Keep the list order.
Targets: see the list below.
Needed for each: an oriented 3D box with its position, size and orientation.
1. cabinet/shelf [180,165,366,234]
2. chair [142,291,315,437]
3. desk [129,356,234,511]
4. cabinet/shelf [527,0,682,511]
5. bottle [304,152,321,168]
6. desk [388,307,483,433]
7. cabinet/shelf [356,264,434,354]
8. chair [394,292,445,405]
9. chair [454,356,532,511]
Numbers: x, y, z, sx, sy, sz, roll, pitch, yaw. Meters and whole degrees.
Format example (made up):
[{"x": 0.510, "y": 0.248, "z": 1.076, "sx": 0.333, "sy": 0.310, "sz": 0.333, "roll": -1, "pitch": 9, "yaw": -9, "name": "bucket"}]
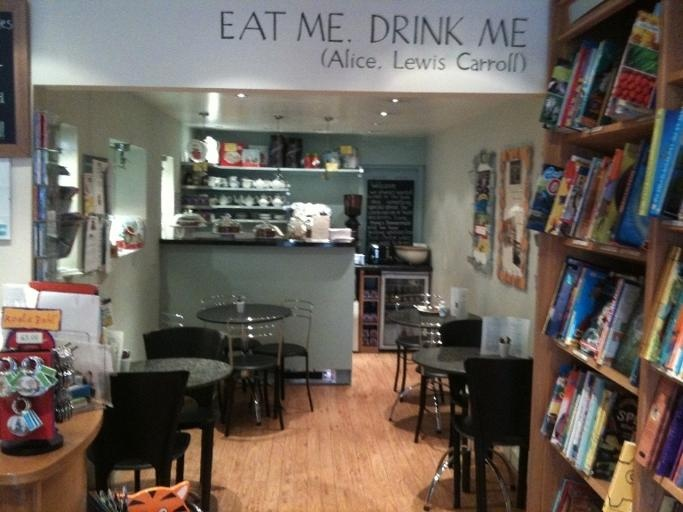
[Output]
[{"x": -0.801, "y": -0.696, "z": 7.107, "sx": 2.298, "sy": 0.825, "sz": 0.990, "roll": -2, "pitch": 9, "yaw": -17, "name": "cabinet/shelf"}, {"x": -0.758, "y": 0.846, "z": 5.028, "sx": 0.998, "sy": 0.878, "sz": 1.095, "roll": -5, "pitch": 10, "yaw": -37, "name": "chair"}, {"x": -0.830, "y": 1.026, "z": 3.765, "sx": 0.804, "sy": 0.945, "sz": 0.835, "roll": 2, "pitch": 2, "yaw": 6, "name": "desk"}, {"x": 1.110, "y": 0.069, "z": 2.615, "sx": 0.378, "sy": 2.592, "sz": 1.066, "roll": 3, "pitch": 9, "yaw": 12, "name": "cabinet/shelf"}, {"x": -0.345, "y": -1.149, "z": 6.954, "sx": 0.189, "sy": 0.170, "sz": 0.194, "roll": 0, "pitch": 8, "yaw": 2, "name": "bottle"}, {"x": 0.849, "y": 0.999, "z": 5.472, "sx": 0.855, "sy": 0.986, "sz": 0.927, "roll": 1, "pitch": 6, "yaw": 9, "name": "desk"}, {"x": 0.565, "y": 0.655, "z": 7.040, "sx": 0.964, "sy": 0.977, "sz": 0.339, "roll": 3, "pitch": -2, "yaw": -28, "name": "cabinet/shelf"}, {"x": 0.690, "y": 1.012, "z": 5.776, "sx": 0.372, "sy": 0.592, "sz": 0.348, "roll": 19, "pitch": 4, "yaw": -34, "name": "chair"}, {"x": 0.879, "y": 1.066, "z": 3.413, "sx": 0.444, "sy": 1.019, "sz": 0.571, "roll": 3, "pitch": 9, "yaw": 17, "name": "chair"}]
